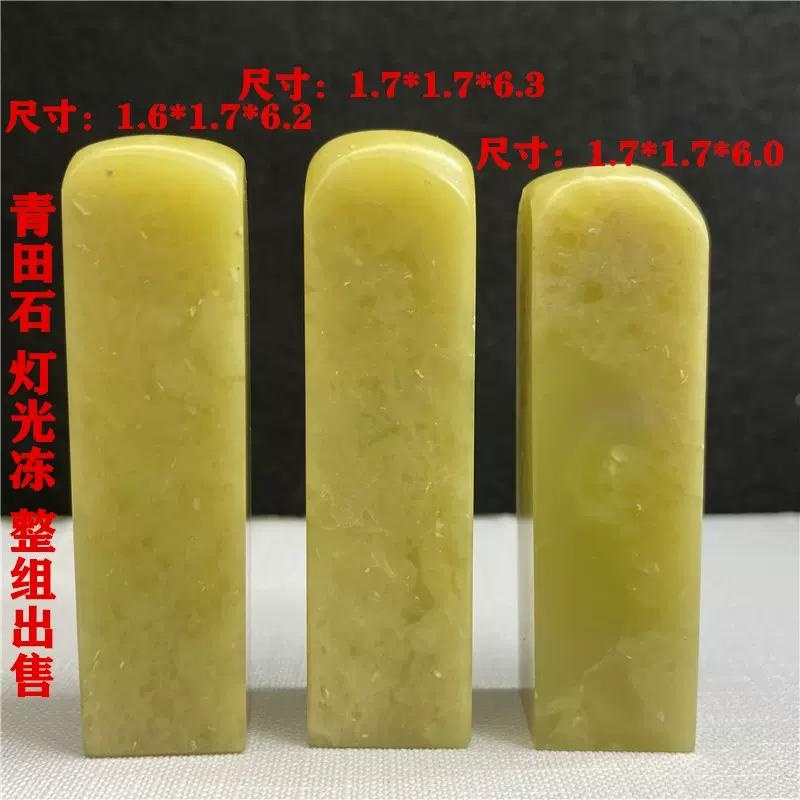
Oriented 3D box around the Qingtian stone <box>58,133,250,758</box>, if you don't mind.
[{"bbox_3d":[-0.440,0.099,2.048,0.323,1.067,0.280,-2,16,-4],"label":"Qingtian stone"}]
